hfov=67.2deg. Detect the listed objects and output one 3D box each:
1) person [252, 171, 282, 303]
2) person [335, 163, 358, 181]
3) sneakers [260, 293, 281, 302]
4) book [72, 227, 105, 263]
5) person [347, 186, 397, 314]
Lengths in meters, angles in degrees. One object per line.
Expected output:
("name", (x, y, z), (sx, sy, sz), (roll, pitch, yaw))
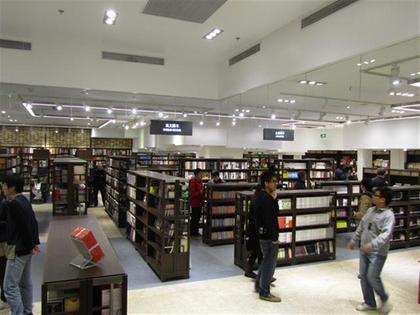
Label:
("person", (1.078, 1.465, 5.800), (0.498, 2.387, 0.597), (-1, 5, -11))
("person", (6.037, 0.646, 13.903), (0.411, 1.160, 0.488), (-9, 12, -40))
("sneakers", (1.122, 2.571, 5.825), (0.371, 0.136, 0.147), (-1, -3, 5))
("book", (-1.706, 1.253, 4.415), (0.330, 0.593, 0.208), (7, 36, 42))
("person", (2.788, 1.621, 5.420), (0.629, 2.211, 0.709), (3, 6, 31))
